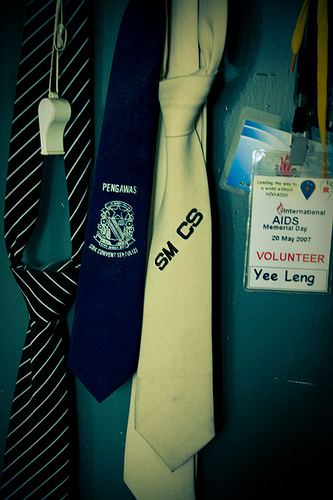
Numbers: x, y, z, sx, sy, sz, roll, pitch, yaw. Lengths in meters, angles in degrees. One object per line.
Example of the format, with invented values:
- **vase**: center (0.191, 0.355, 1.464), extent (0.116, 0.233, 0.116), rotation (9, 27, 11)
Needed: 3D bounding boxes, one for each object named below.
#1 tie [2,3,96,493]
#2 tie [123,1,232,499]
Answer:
- **tie**: center (-0.226, 0.038, 0.824), extent (0.128, 1.164, 0.079), rotation (1, 9, -2)
- **tie**: center (0.017, -0.011, 0.748), extent (0.139, 0.786, 0.078), rotation (1, 5, -1)
